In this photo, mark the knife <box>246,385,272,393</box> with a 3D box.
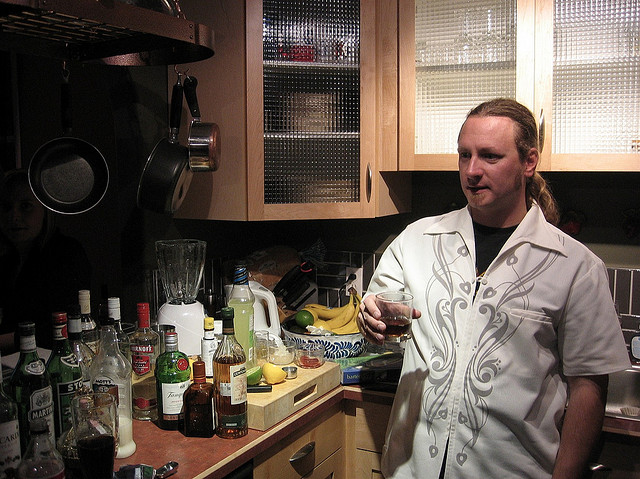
[{"bbox_3d":[-0.213,0.526,1.734,0.086,0.013,0.039,-2,5,1],"label":"knife"}]

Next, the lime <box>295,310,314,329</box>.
[{"bbox_3d":[-0.069,0.366,2.340,0.072,0.090,0.071,-13,-13,-42],"label":"lime"}]

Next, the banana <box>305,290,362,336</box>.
[{"bbox_3d":[0.065,0.373,2.383,0.234,0.157,0.182,5,15,39],"label":"banana"}]

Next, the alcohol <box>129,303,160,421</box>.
[{"bbox_3d":[-0.600,0.411,1.672,0.095,0.388,0.108,-2,-3,2],"label":"alcohol"}]

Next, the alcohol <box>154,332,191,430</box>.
[{"bbox_3d":[-0.478,0.446,1.585,0.102,0.289,0.111,2,1,15],"label":"alcohol"}]

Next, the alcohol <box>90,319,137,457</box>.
[{"bbox_3d":[-0.642,0.455,1.525,0.131,0.447,0.139,-1,7,3],"label":"alcohol"}]

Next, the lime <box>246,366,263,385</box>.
[{"bbox_3d":[-0.239,0.488,1.769,0.052,0.034,0.053,-28,9,-8],"label":"lime"}]

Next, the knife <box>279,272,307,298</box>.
[{"bbox_3d":[-0.145,0.229,2.523,0.034,0.130,0.034,41,0,-30],"label":"knife"}]

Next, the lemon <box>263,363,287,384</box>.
[{"bbox_3d":[-0.166,0.481,1.796,0.059,0.051,0.072,21,-5,24],"label":"lemon"}]

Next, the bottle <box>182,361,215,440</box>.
[{"bbox_3d":[-0.391,0.533,1.549,0.107,0.186,0.062,-2,4,-4],"label":"bottle"}]

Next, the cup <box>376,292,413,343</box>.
[{"bbox_3d":[0.225,0.225,1.450,0.118,0.153,0.127,0,-4,0],"label":"cup"}]

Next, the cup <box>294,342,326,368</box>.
[{"bbox_3d":[-0.046,0.472,2.010,0.120,0.072,0.088,-2,5,0],"label":"cup"}]

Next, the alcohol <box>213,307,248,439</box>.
[{"bbox_3d":[-0.271,0.407,1.576,0.099,0.428,0.132,3,12,1],"label":"alcohol"}]

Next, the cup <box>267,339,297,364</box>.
[{"bbox_3d":[-0.152,0.448,1.976,0.096,0.106,0.130,-1,5,8],"label":"cup"}]

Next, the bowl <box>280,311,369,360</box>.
[{"bbox_3d":[0.053,0.486,2.364,0.366,0.157,0.386,-6,-6,-1],"label":"bowl"}]

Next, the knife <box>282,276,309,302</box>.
[{"bbox_3d":[-0.129,0.250,2.531,0.028,0.119,0.119,40,-3,40],"label":"knife"}]

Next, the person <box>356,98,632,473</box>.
[{"bbox_3d":[0.578,0.184,1.667,0.747,1.296,0.393,-1,4,6],"label":"person"}]

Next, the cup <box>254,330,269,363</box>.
[{"bbox_3d":[-0.234,0.425,1.947,0.075,0.143,0.079,-1,1,0],"label":"cup"}]

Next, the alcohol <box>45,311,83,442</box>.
[{"bbox_3d":[-0.743,0.392,1.441,0.099,0.434,0.108,17,19,19],"label":"alcohol"}]

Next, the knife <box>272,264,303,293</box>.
[{"bbox_3d":[-0.170,0.204,2.521,0.024,0.178,0.020,41,-9,-4],"label":"knife"}]

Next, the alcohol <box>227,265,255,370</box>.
[{"bbox_3d":[-0.289,0.297,1.873,0.101,0.381,0.129,0,12,-4],"label":"alcohol"}]
